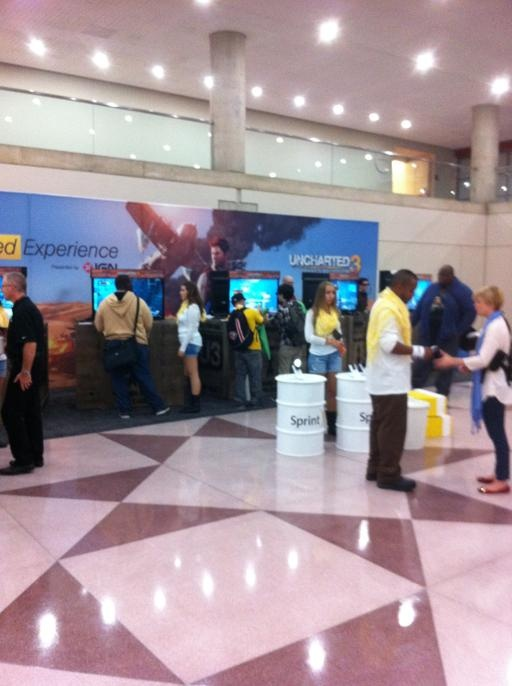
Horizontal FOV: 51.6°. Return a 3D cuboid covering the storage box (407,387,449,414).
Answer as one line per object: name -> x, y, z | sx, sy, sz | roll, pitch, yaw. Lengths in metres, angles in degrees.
storage box -> 1.769, 0.598, 5.477 | 0.152, 0.203, 0.548 | -1, 3, -11

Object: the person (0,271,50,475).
person -> -1.842, 0.235, 4.178 | 0.325, 1.588, 0.454 | -1, 2, -22

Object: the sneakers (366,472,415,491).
sneakers -> 0.992, 1.012, 3.904 | 0.324, 0.145, 0.119 | -1, 2, 12

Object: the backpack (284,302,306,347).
backpack -> 0.477, -0.247, 6.535 | 0.246, 0.572, 0.227 | 0, 2, 1

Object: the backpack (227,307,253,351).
backpack -> -0.182, -0.168, 6.501 | 0.294, 0.531, 0.171 | 0, 2, -5

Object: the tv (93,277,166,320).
tv -> -1.618, -0.578, 6.691 | 0.634, 0.489, 0.225 | -1, 2, -16

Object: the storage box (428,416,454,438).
storage box -> 1.862, 0.857, 5.405 | 0.218, 0.164, 0.225 | 0, 5, 1

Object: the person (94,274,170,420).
person -> -1.430, 0.046, 6.086 | 0.746, 1.637, 0.408 | -1, 2, -23

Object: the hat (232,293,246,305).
hat -> -0.217, -0.556, 6.570 | 0.137, 0.157, 0.251 | 0, 2, -5

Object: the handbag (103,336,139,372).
handbag -> -1.506, 0.119, 5.936 | 0.359, 0.370, 0.135 | 0, 2, -8

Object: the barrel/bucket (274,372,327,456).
barrel/bucket -> 0.390, 0.653, 4.658 | 0.402, 0.689, 0.265 | 0, 2, 4

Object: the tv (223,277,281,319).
tv -> -0.091, -0.695, 8.026 | 0.752, 0.558, 0.028 | -2, 4, -38

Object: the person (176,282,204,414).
person -> -0.782, 0.038, 6.467 | 0.316, 1.563, 0.475 | 0, 2, -7

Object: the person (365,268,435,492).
person -> 1.028, 0.259, 3.839 | 0.453, 1.601, 0.421 | 1, 2, 14

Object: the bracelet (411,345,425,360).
bracelet -> 1.144, 0.058, 3.760 | 0.107, 0.112, 0.116 | 1, 2, 13

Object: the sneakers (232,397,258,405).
sneakers -> -0.122, 0.764, 6.926 | 0.339, 0.151, 0.116 | 9, -3, -21
